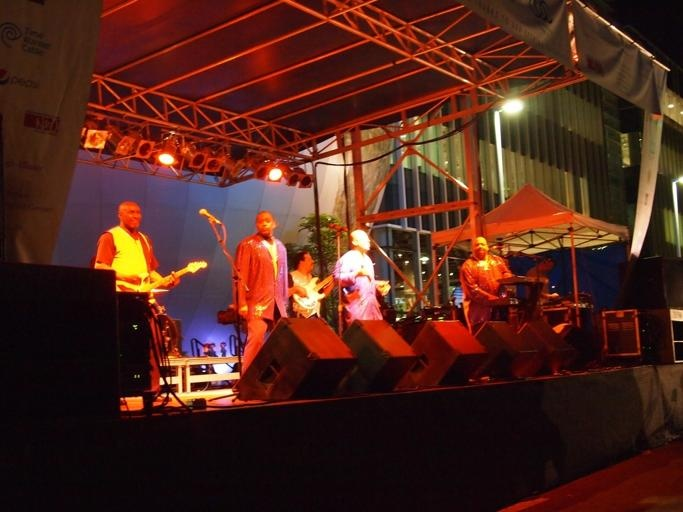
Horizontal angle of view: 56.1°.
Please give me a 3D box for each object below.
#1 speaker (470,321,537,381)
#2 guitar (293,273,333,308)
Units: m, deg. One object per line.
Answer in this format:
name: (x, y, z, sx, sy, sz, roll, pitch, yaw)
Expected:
speaker: (1.433, 0.847, 5.614, 0.523, 0.419, 0.586, 8, -8, 17)
guitar: (-0.381, 0.518, 9.241, 0.578, 0.467, 0.710, -1, -7, 8)
